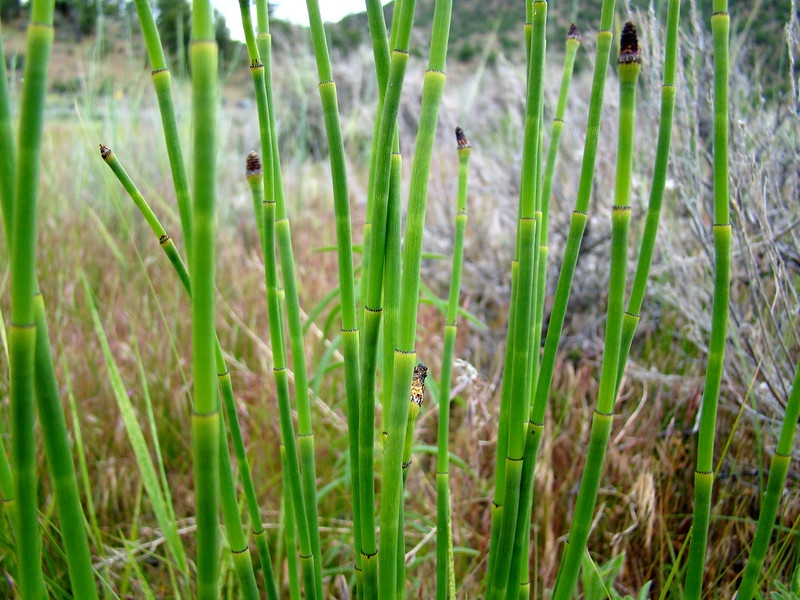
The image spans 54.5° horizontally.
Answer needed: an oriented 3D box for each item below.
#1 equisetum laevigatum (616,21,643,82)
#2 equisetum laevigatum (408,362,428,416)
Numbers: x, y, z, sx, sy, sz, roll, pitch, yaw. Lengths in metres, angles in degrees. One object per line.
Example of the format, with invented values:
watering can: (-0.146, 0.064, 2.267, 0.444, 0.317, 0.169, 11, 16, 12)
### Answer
equisetum laevigatum: (0.390, -0.406, 1.325, 0.037, 0.129, 0.038, 3, 4, 42)
equisetum laevigatum: (0.038, 0.163, 1.481, 0.025, 0.112, 0.031, 17, -19, -33)
